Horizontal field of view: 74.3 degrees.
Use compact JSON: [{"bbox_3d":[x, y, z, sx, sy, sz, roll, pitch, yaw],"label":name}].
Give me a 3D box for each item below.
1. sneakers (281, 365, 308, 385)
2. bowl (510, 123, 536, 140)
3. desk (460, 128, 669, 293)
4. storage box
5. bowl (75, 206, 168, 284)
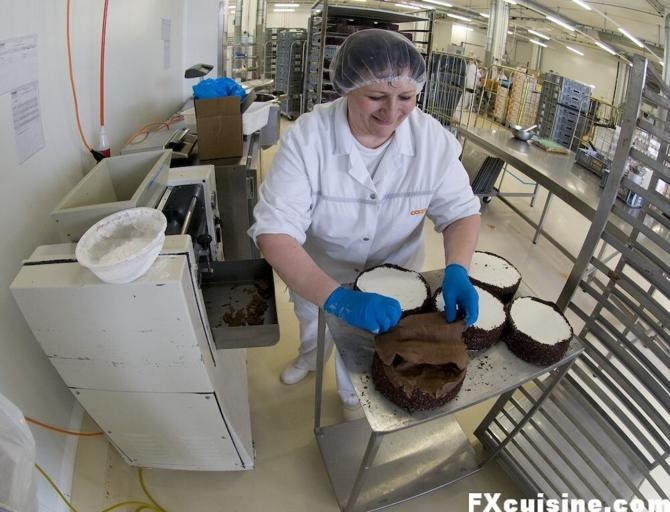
[{"bbox_3d":[-0.230,0.681,2.536,0.143,0.062,0.095,-14,69,-6],"label":"sneakers"},{"bbox_3d":[1.727,-1.135,4.068,0.188,0.101,0.150,10,53,7],"label":"bowl"},{"bbox_3d":[1.462,-0.311,2.878,0.431,0.443,1.449,-10,46,-21],"label":"desk"},{"bbox_3d":[-0.709,-0.851,2.893,0.342,0.362,0.485,-7,19,-13],"label":"storage box"},{"bbox_3d":[-0.709,-0.030,1.493,0.284,0.163,0.261,3,30,-1],"label":"bowl"}]
